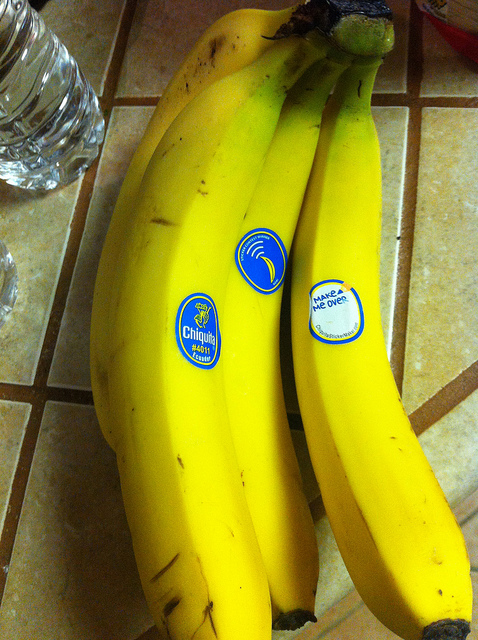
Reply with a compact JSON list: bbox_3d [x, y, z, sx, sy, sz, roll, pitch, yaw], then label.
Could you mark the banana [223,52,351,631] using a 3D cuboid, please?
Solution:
[{"bbox_3d":[0.071,-0.025,0.553,0.168,0.075,0.555,-8,72,35],"label":"banana"}]
